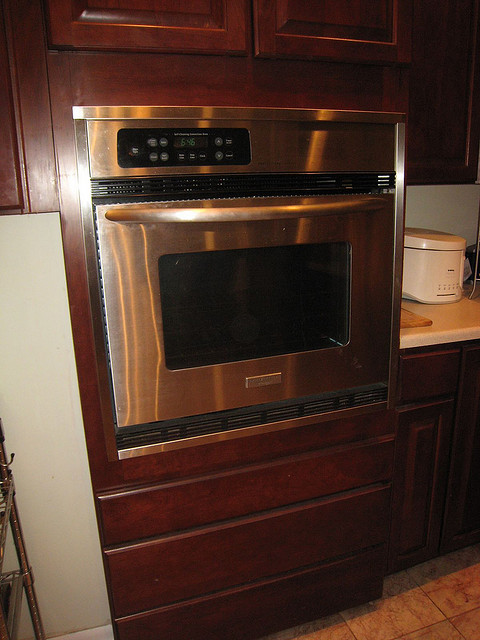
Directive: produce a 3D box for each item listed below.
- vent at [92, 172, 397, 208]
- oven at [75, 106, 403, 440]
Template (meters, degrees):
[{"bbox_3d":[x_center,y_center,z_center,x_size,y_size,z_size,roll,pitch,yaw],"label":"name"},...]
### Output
[{"bbox_3d":[0.038,-0.281,1.108,0.686,0.059,0.031,-6,16,-18],"label":"vent"},{"bbox_3d":[-0.033,-0.121,1.333,0.770,0.709,0.525,-6,11,-18],"label":"oven"}]
